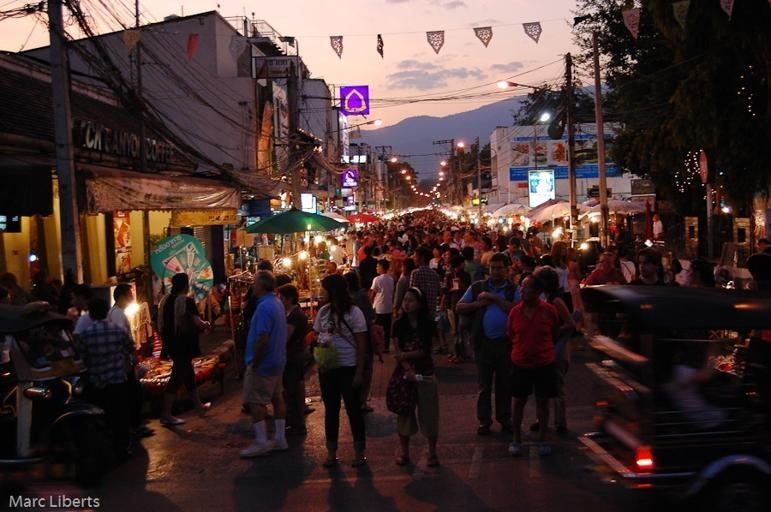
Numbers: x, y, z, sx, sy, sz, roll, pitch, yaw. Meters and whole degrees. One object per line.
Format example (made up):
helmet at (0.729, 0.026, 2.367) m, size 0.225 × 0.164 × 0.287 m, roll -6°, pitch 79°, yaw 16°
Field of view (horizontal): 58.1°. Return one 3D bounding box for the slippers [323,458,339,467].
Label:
slippers at (-0.749, 2.824, 9.516) m, size 0.201 × 0.101 × 0.117 m, roll -4°, pitch 10°, yaw -9°

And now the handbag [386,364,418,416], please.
handbag at (0.216, 1.804, 9.468) m, size 0.391 × 0.664 × 0.245 m, roll -2°, pitch -7°, yaw 0°

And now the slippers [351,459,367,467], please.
slippers at (-0.359, 2.822, 9.498) m, size 0.216 × 0.083 × 0.078 m, roll 3°, pitch -3°, yaw -30°

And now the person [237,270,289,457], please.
person at (-1.757, 1.526, 10.013) m, size 0.638 × 2.517 × 0.757 m, roll -3°, pitch 10°, yaw -5°

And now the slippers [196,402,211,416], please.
slippers at (-3.050, 2.548, 11.647) m, size 0.112 × 0.142 × 0.334 m, roll 2°, pitch 3°, yaw 7°

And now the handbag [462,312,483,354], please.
handbag at (1.300, 1.153, 10.623) m, size 0.253 × 0.609 × 0.470 m, roll 7°, pitch 9°, yaw 43°

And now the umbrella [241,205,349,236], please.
umbrella at (-2.155, -0.796, 16.450) m, size 0.988 × 0.570 × 1.861 m, roll 7°, pitch 14°, yaw 42°

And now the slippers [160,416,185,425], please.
slippers at (-3.419, 2.628, 11.153) m, size 0.359 × 0.146 × 0.155 m, roll -1°, pitch 3°, yaw 0°

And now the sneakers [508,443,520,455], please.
sneakers at (1.772, 2.648, 9.551) m, size 0.119 × 0.107 × 0.247 m, roll -2°, pitch -11°, yaw 8°

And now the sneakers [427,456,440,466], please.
sneakers at (0.640, 2.762, 9.420) m, size 0.185 × 0.151 × 0.137 m, roll -2°, pitch 10°, yaw 3°

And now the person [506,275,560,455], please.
person at (2.031, 1.485, 9.610) m, size 0.690 × 2.453 × 0.734 m, roll 0°, pitch 10°, yaw 12°

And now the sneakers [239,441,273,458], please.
sneakers at (-1.842, 2.741, 9.875) m, size 0.398 × 0.171 × 0.186 m, roll 1°, pitch -1°, yaw -7°

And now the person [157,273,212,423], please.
person at (-3.347, 1.514, 11.288) m, size 0.896 × 2.371 × 0.717 m, roll -10°, pitch 12°, yaw -36°
